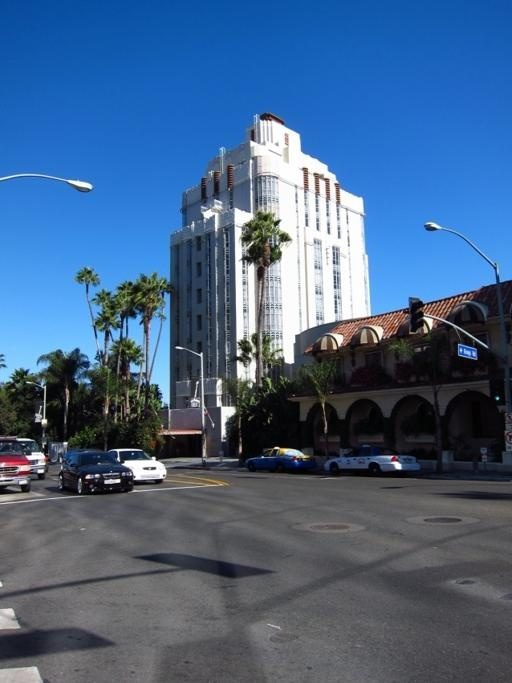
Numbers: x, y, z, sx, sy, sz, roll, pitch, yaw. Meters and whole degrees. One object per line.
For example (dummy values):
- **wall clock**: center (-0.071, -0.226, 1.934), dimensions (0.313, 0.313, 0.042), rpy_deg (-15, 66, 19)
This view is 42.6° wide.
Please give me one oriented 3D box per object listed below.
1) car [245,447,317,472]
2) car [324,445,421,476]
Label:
- **car**: center (1.294, 6.224, 34.264), dimensions (1.452, 1.095, 3.342), rpy_deg (11, -15, -39)
- **car**: center (5.010, 5.169, 28.905), dimensions (1.591, 1.258, 3.809), rpy_deg (12, -14, -41)
